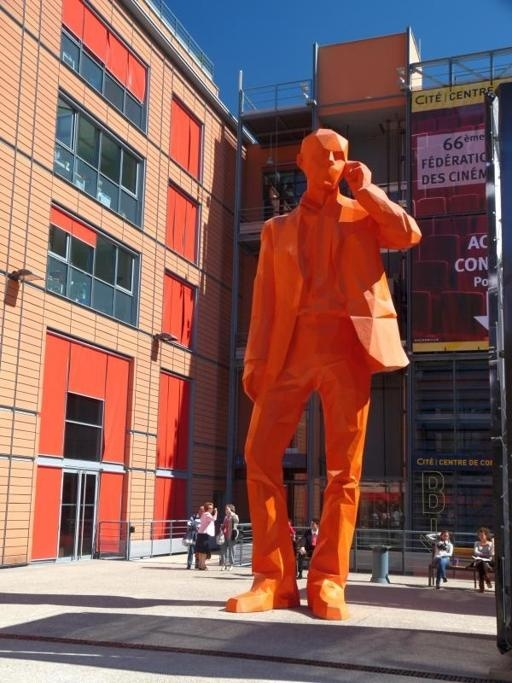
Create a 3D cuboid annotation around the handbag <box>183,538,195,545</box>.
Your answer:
[{"bbox_3d":[-1.335,3.967,14.524,0.193,0.093,0.253,4,-15,-9],"label":"handbag"}]

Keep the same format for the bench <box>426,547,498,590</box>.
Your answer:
[{"bbox_3d":[3.782,4.174,13.664,0.907,0.522,0.309,-19,-19,40],"label":"bench"}]

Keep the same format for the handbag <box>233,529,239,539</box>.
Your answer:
[{"bbox_3d":[-0.398,3.797,14.413,0.113,0.158,0.047,8,-8,-19],"label":"handbag"}]

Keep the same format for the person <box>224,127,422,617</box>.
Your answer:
[{"bbox_3d":[0.552,0.460,6.735,1.446,3.946,0.724,-6,-15,25],"label":"person"}]
